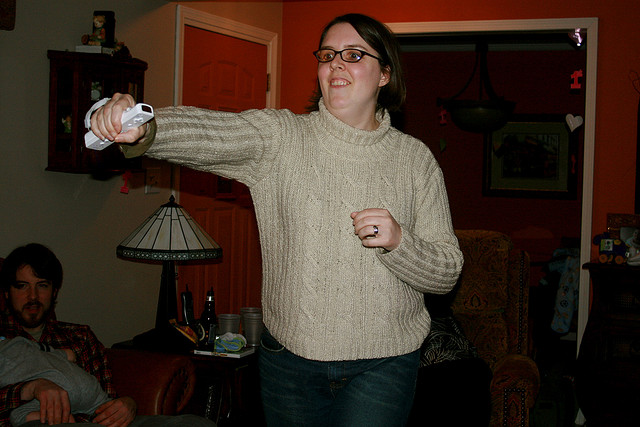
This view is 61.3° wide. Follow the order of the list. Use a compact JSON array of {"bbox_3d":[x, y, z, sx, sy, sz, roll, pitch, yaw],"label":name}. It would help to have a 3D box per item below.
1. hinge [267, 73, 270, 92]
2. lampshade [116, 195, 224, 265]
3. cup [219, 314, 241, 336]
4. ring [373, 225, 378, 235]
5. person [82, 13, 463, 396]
[{"bbox_3d":[-0.470,-1.185,4.868,0.022,0.155,0.004,2,2,7],"label":"hinge"},{"bbox_3d":[-0.957,0.143,3.371,0.526,0.462,0.479,5,10,-32],"label":"lampshade"},{"bbox_3d":[-0.561,0.666,3.327,0.125,0.095,0.126,3,7,0],"label":"cup"},{"bbox_3d":[0.171,0.047,1.668,0.012,0.023,0.022,-2,1,37],"label":"ring"},{"bbox_3d":[-0.046,-0.036,1.731,1.076,1.293,0.363,1,3,-29],"label":"person"}]
